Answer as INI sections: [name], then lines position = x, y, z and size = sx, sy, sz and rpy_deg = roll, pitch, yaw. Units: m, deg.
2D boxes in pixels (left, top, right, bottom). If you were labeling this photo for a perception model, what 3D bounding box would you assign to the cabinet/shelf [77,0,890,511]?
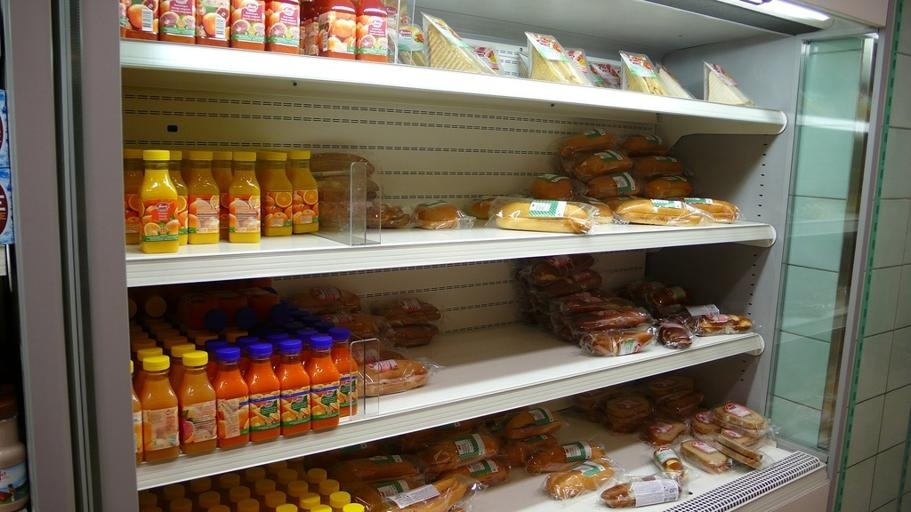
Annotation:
[cabinet/shelf]
position = 0.169, -0.010, 2.286
size = 3.051, 1.464, 0.900
rpy_deg = -4, 8, -27
